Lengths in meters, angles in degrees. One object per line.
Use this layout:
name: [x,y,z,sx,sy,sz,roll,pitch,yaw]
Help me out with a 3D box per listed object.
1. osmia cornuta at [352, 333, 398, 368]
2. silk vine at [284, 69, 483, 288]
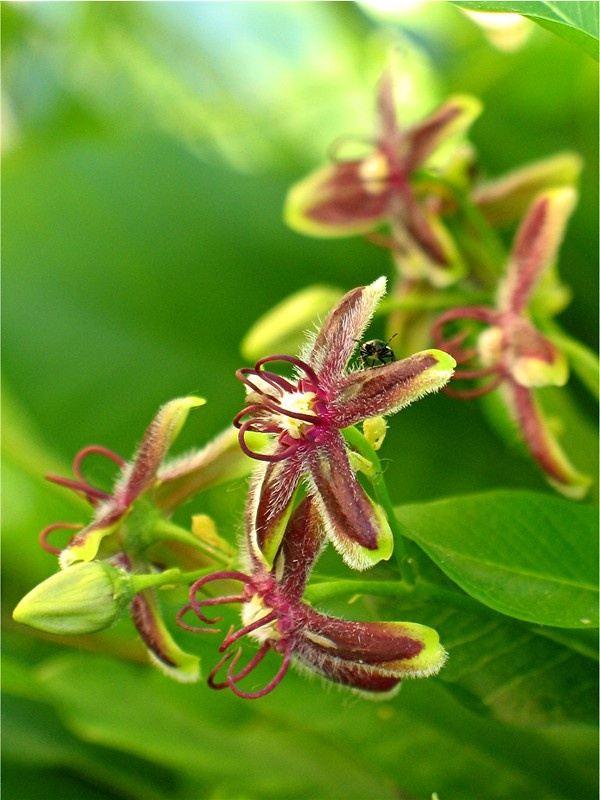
osmia cornuta: [0.061,-0.044,0.716,0.040,0.015,0.047,-6,6,12]
silk vine: [0.151,-0.231,0.905,0.218,0.177,0.077,-27,-38,25]
